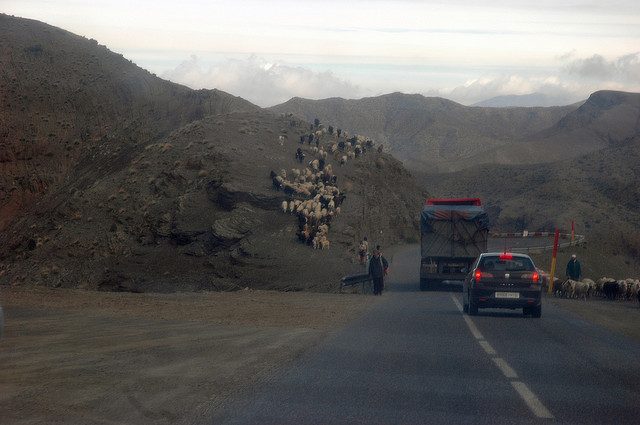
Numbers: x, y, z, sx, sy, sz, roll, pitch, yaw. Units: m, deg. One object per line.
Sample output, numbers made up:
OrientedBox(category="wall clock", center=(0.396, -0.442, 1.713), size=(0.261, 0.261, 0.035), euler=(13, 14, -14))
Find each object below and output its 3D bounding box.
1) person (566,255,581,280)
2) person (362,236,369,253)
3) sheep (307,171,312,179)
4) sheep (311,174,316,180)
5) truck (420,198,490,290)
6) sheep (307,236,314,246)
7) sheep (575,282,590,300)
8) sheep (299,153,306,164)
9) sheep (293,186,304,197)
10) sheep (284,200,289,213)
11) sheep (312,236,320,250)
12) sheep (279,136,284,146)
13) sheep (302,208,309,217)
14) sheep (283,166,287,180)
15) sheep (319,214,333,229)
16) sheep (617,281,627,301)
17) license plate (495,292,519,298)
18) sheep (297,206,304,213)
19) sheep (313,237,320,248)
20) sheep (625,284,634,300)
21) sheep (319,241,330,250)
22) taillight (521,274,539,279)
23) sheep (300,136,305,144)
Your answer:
OrientedBox(category="person", center=(12.844, 2.820, 27.670), size=(0.558, 1.454, 1.972), euler=(1, 2, 24))
OrientedBox(category="person", center=(3.590, 2.600, 43.722), size=(0.518, 1.772, 0.900), euler=(-4, -12, 11))
OrientedBox(category="sheep", center=(-0.987, -3.487, 50.777), size=(0.338, 0.706, 0.686), euler=(2, 3, 37))
OrientedBox(category="sheep", center=(-0.639, -3.322, 50.932), size=(0.239, 0.485, 0.660), euler=(1, 2, 18))
OrientedBox(category="truck", center=(7.647, 1.823, 31.458), size=(3.570, 5.224, 4.597), euler=(1, 2, 13))
OrientedBox(category="sheep", center=(-0.779, 2.146, 41.142), size=(0.409, 0.667, 0.642), euler=(0, 2, -5))
OrientedBox(category="sheep", center=(13.412, 4.026, 27.849), size=(0.401, 0.810, 0.865), euler=(-1, 2, -17))
OrientedBox(category="sheep", center=(-1.856, -5.461, 55.101), size=(0.709, 0.930, 0.357), euler=(3, -4, -40))
OrientedBox(category="sheep", center=(-1.956, -1.802, 47.017), size=(0.804, 0.920, 0.510), euler=(0, 3, 1))
OrientedBox(category="sheep", center=(-2.805, -0.582, 44.738), size=(0.291, 0.490, 0.901), euler=(3, 40, -4))
OrientedBox(category="sheep", center=(-0.329, 2.255, 40.917), size=(0.535, 0.892, 0.785), euler=(0, 2, -4))
OrientedBox(category="sheep", center=(-4.145, -7.638, 58.213), size=(0.483, 1.131, 1.364), euler=(0, 2, -3))
OrientedBox(category="sheep", center=(-1.185, 0.005, 43.600), size=(0.501, 0.495, 0.577), euler=(0, 2, -2))
OrientedBox(category="sheep", center=(-3.270, -3.576, 48.743), size=(0.237, 1.005, 0.533), euler=(-5, 0, -4))
OrientedBox(category="sheep", center=(0.546, 0.701, 45.686), size=(0.785, 1.078, 2.185), euler=(1, 2, 20))
OrientedBox(category="sheep", center=(15.698, 4.075, 28.294), size=(0.297, 0.849, 0.737), euler=(0, 2, 4))
OrientedBox(category="license plate", center=(6.519, 2.884, 19.069), size=(0.808, 0.181, 0.049), euler=(0, 3, 7))
OrientedBox(category="sheep", center=(-1.653, -0.249, 44.329), size=(0.437, 0.502, 0.488), euler=(0, 2, -9))
OrientedBox(category="sheep", center=(-0.335, 2.251, 40.909), size=(0.482, 0.639, 0.297), euler=(-2, 3, -39))
OrientedBox(category="sheep", center=(15.649, 4.044, 27.616), size=(0.212, 0.860, 0.465), euler=(-4, -3, -6))
OrientedBox(category="sheep", center=(0.328, 2.440, 41.232), size=(0.808, 0.559, 0.352), euler=(-2, 3, -40))
OrientedBox(category="taillight", center=(7.325, 2.243, 19.086), size=(0.612, 0.155, 0.117), euler=(0, 2, -11))
OrientedBox(category="sheep", center=(-1.970, -8.005, 60.107), size=(0.647, 1.067, 0.588), euler=(5, 6, 41))
